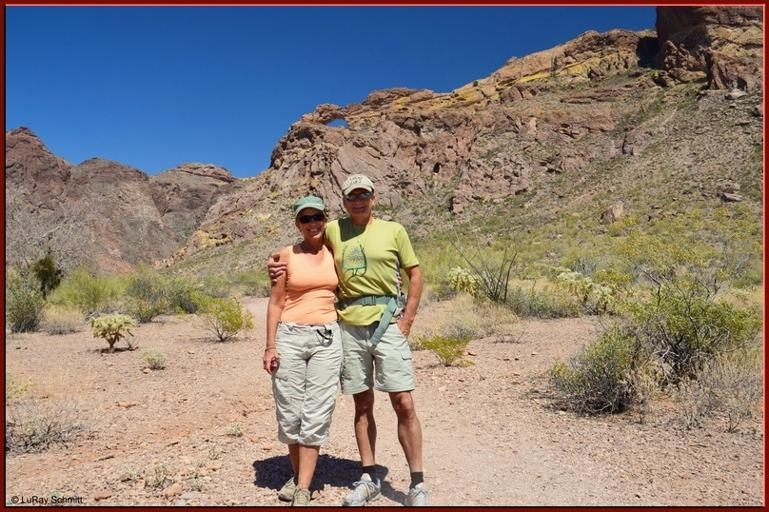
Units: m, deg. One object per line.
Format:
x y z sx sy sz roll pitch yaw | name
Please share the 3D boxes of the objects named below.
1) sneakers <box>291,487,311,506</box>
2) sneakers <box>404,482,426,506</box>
-1.111 3.227 7.379 0.231 0.197 0.180 -2 14 -9 | sneakers
0.430 3.179 7.367 0.267 0.270 0.196 1 14 0 | sneakers
